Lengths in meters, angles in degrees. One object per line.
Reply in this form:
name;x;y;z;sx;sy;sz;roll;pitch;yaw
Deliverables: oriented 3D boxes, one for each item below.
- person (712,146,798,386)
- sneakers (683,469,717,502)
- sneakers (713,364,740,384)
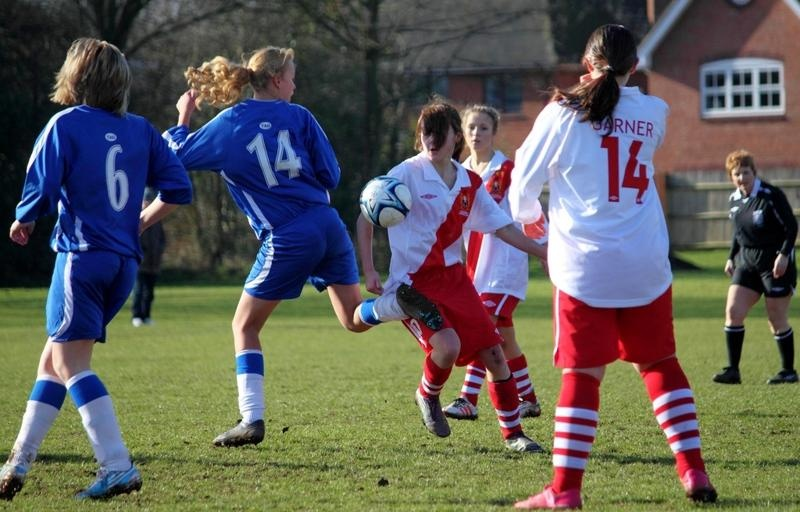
person;5.092;0.128;19.328;1.080;3.177;1.131;1;4;15
sneakers;3.545;2.731;16.231;0.209;0.518;0.241;-29;-9;7
sneakers;4.558;1.660;18.938;0.477;0.213;0.166;2;-4;-7
